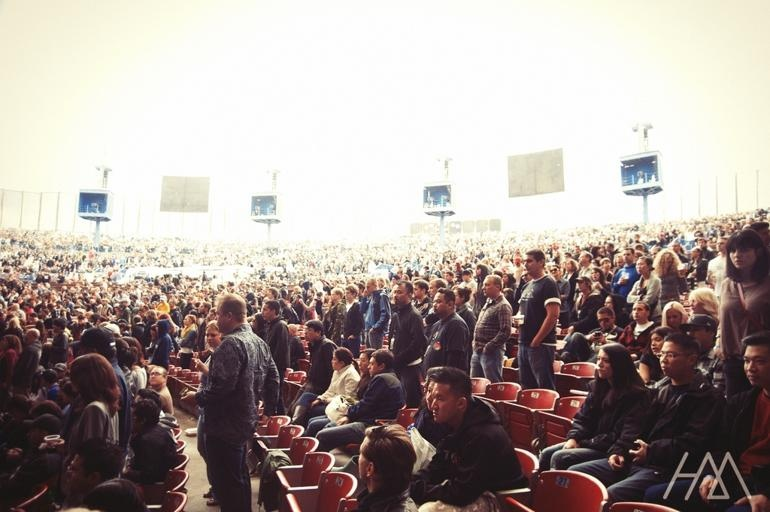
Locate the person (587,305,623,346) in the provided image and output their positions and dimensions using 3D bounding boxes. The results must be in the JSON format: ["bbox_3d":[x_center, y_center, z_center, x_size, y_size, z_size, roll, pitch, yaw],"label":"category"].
[{"bbox_3d":[6.075,2.000,17.566,1.097,0.980,1.096,-17,-20,42],"label":"person"}]

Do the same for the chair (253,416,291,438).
[{"bbox_3d":[-3.064,4.548,16.632,0.758,0.650,0.594,8,-8,-26],"label":"chair"}]

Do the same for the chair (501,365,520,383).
[{"bbox_3d":[3.608,3.416,17.937,0.420,0.533,0.496,1,-6,31],"label":"chair"}]

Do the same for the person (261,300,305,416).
[{"bbox_3d":[-3.262,2.652,18.087,1.001,2.978,0.975,-4,26,-12],"label":"person"}]

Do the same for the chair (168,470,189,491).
[{"bbox_3d":[-4.913,5.260,14.696,0.445,0.587,0.481,15,-16,-35],"label":"chair"}]

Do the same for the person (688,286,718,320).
[{"bbox_3d":[8.267,1.231,16.183,0.714,0.825,0.698,5,-6,-39],"label":"person"}]

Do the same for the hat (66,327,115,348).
[{"bbox_3d":[-6.925,1.972,14.845,0.719,0.368,0.503,3,-4,1],"label":"hat"}]

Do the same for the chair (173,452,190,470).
[{"bbox_3d":[-4.978,5.012,15.095,0.347,0.377,0.359,5,-27,16],"label":"chair"}]

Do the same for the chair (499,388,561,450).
[{"bbox_3d":[3.646,4.250,16.135,1.535,1.734,1.337,22,-25,-28],"label":"chair"}]

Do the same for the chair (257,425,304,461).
[{"bbox_3d":[-2.723,4.752,15.982,0.931,0.812,0.702,12,-18,-19],"label":"chair"}]
